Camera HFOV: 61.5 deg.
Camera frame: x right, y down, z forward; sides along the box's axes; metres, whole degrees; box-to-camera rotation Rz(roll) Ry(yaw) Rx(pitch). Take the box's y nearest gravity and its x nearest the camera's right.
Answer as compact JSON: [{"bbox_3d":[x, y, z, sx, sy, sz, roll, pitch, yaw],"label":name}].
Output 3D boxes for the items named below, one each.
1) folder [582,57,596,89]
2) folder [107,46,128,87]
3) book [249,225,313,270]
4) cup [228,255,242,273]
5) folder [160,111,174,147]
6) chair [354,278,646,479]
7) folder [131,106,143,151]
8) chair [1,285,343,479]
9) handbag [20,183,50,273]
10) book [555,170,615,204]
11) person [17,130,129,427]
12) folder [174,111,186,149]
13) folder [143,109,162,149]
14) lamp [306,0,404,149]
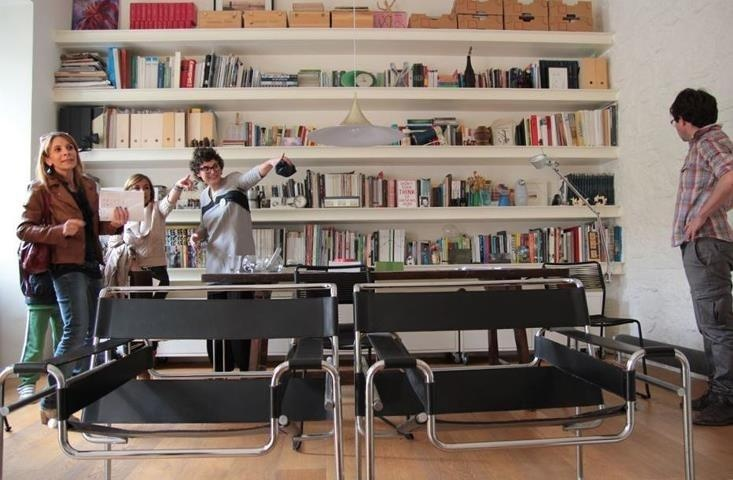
[{"bbox_3d":[2.246,-1.674,6.205,0.153,0.277,0.281,-1,6,4],"label":"folder"},{"bbox_3d":[-2.455,-1.688,6.043,0.144,0.378,0.398,0,5,-2],"label":"folder"},{"bbox_3d":[-0.847,0.067,6.094,0.522,0.358,0.508,3,8,11],"label":"book"},{"bbox_3d":[-1.052,0.189,4.867,0.127,0.143,0.129,1,-6,0],"label":"cup"},{"bbox_3d":[-1.953,-1.083,6.030,0.112,0.295,0.038,-2,1,8],"label":"folder"},{"bbox_3d":[0.672,0.718,3.878,1.900,1.441,1.145,0,-5,-4],"label":"chair"},{"bbox_3d":[-2.269,-1.074,6.029,0.123,0.321,0.066,-1,1,14],"label":"folder"},{"bbox_3d":[-0.895,0.756,3.884,1.740,1.388,1.202,-2,-8,-2],"label":"chair"},{"bbox_3d":[-2.412,-0.077,4.445,0.213,0.653,0.288,-2,1,-22],"label":"handbag"},{"bbox_3d":[2.244,-0.518,6.288,0.446,0.420,0.323,0,-3,-13],"label":"book"},{"bbox_3d":[-2.148,0.244,4.564,0.753,2.038,0.705,-6,3,-28],"label":"person"},{"bbox_3d":[-1.845,-1.062,6.027,0.105,0.304,0.320,-1,10,-5],"label":"folder"},{"bbox_3d":[-2.084,-1.131,6.148,0.214,0.355,0.369,-6,23,-28],"label":"folder"},{"bbox_3d":[-0.094,-1.033,4.740,0.599,0.939,0.609,-1,0,-3],"label":"lamp"}]
